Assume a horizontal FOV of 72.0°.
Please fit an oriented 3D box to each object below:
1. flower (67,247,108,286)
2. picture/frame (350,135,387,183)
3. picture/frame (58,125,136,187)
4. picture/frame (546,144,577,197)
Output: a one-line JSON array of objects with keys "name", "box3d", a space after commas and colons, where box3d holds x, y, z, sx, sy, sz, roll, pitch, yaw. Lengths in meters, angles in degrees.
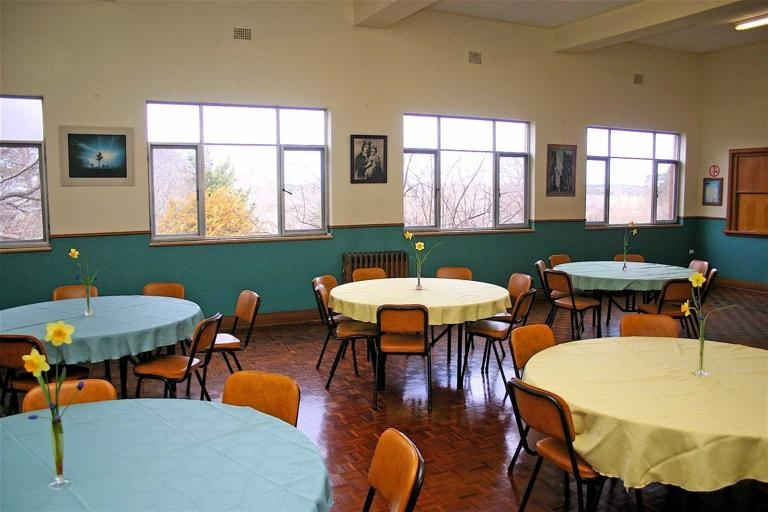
[{"name": "flower", "box3d": [-3.870, 0.115, 6.855, 0.239, 0.429, 0.270, -18, 52, -39]}, {"name": "picture/frame", "box3d": [-0.271, -1.553, 8.347, 0.806, 0.896, 0.035, -1, 3, -28]}, {"name": "picture/frame", "box3d": [-3.861, -1.345, 7.015, 0.875, 0.749, 0.064, -2, 3, -25]}, {"name": "picture/frame", "box3d": [3.287, -1.626, 9.837, 0.993, 1.297, 0.093, -2, 5, -31]}]
